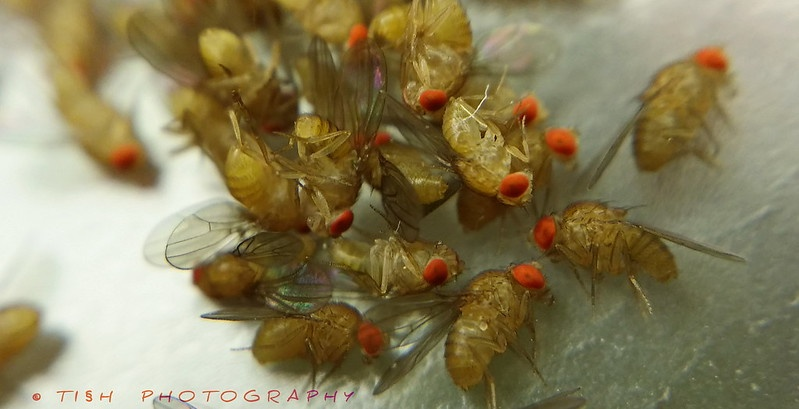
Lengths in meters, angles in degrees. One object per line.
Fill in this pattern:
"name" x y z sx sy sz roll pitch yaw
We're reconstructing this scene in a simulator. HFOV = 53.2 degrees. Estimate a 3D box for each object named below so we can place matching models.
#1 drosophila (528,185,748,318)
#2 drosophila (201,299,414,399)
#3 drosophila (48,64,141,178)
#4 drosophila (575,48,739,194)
"drosophila" 0.449 0.087 1.534 0.335 0.215 0.128 3 45 0
"drosophila" -0.173 0.269 1.615 0.364 0.253 0.106 0 96 3
"drosophila" -0.640 -0.182 1.685 0.076 0.315 0.136 31 56 23
"drosophila" 0.515 -0.176 1.605 0.315 0.157 0.204 -6 55 -3
